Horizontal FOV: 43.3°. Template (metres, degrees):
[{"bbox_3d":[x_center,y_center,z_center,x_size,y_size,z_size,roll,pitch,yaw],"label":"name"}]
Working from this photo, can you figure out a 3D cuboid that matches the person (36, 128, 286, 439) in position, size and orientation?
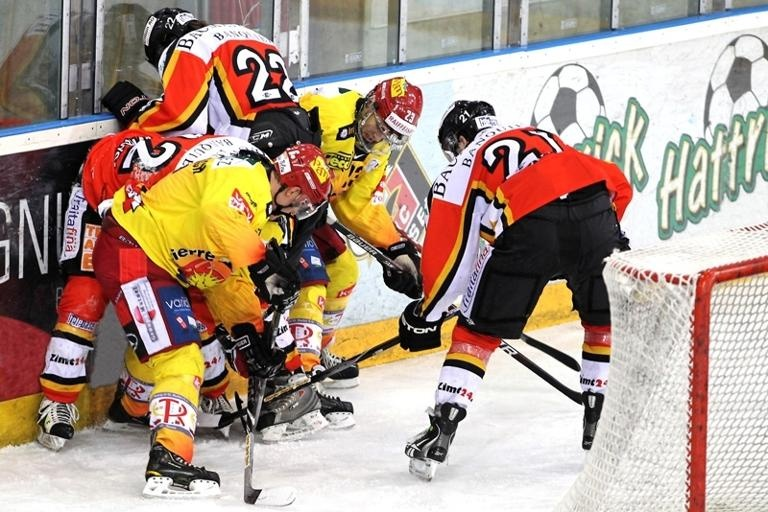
[{"bbox_3d":[-1.422,0.124,5.205,1.046,1.664,0.591,6,-3,-12],"label":"person"}]

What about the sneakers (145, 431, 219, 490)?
[{"bbox_3d":[-0.930,0.959,4.438,0.338,0.273,0.149,1,6,-4],"label":"sneakers"}]

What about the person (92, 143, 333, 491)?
[{"bbox_3d":[-0.848,0.255,4.583,1.083,1.628,0.565,0,6,-10],"label":"person"}]

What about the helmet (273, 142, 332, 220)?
[{"bbox_3d":[-0.380,-0.383,4.752,0.307,0.328,0.258,-27,20,10],"label":"helmet"}]

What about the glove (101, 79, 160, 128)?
[{"bbox_3d":[-1.400,-0.799,5.278,0.260,0.259,0.094,42,-14,6],"label":"glove"}]

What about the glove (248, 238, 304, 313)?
[{"bbox_3d":[-0.544,0.107,4.617,0.152,0.320,0.237,1,48,36],"label":"glove"}]

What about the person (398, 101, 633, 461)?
[{"bbox_3d":[0.654,0.110,4.882,1.132,1.769,0.623,1,6,1],"label":"person"}]

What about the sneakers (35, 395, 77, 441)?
[{"bbox_3d":[-1.685,0.847,4.943,0.183,0.233,0.153,-1,6,-21],"label":"sneakers"}]

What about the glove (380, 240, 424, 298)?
[{"bbox_3d":[0.122,0.075,5.699,0.296,0.297,0.116,24,-40,-33],"label":"glove"}]

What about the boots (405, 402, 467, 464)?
[{"bbox_3d":[0.294,0.878,4.952,0.184,0.330,0.476,21,1,-5],"label":"boots"}]

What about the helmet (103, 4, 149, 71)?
[{"bbox_3d":[-1.316,-1.185,5.302,0.332,0.332,0.258,13,8,36],"label":"helmet"}]

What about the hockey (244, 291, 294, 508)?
[{"bbox_3d":[-0.588,0.726,4.855,0.313,0.159,1.105,-5,40,2],"label":"hockey"}]

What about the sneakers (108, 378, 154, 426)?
[{"bbox_3d":[-1.328,0.774,5.080,0.203,0.174,0.244,11,0,-19],"label":"sneakers"}]
